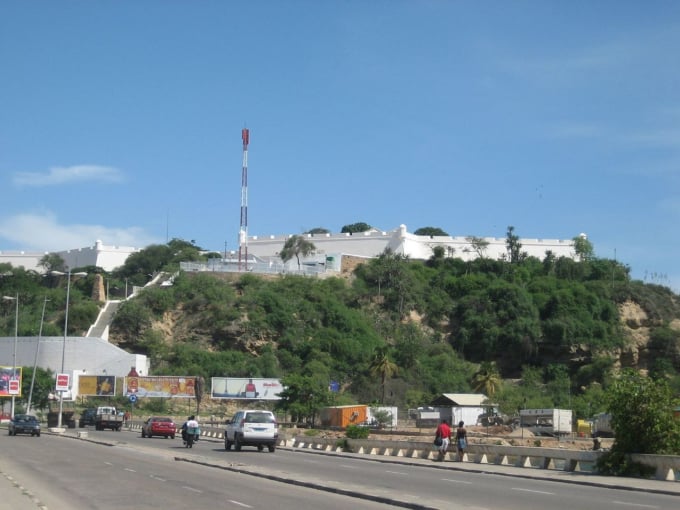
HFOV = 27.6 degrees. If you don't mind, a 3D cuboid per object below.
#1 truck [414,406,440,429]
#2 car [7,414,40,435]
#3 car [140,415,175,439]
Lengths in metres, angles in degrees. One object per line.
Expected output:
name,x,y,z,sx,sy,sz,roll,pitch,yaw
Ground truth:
truck,10.878,19.472,170.643,2.938,2.826,7.580,0,-9,3
car,-31.200,16.414,136.750,3.033,2.062,2.313,-1,-10,10
car,-18.039,16.676,137.426,3.094,2.125,1.786,1,-9,0
